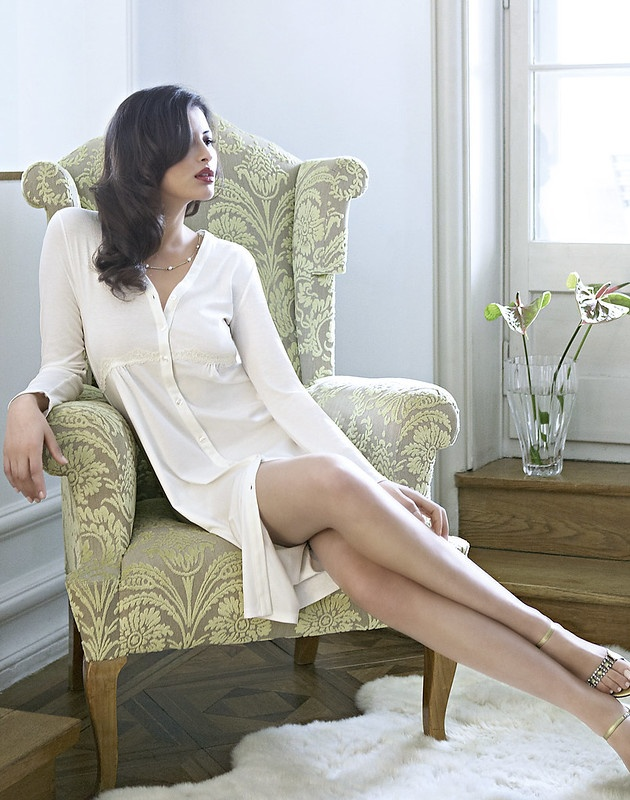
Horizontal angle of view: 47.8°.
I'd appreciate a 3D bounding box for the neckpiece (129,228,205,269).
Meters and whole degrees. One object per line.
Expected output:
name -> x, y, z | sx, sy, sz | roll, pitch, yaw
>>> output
neckpiece -> -0.267, -0.271, 1.327 | 0.102, 0.023, 0.088 | 18, 46, 19
